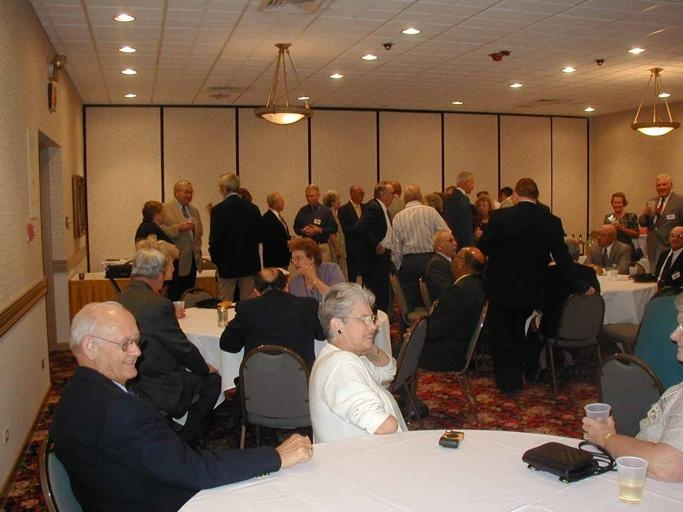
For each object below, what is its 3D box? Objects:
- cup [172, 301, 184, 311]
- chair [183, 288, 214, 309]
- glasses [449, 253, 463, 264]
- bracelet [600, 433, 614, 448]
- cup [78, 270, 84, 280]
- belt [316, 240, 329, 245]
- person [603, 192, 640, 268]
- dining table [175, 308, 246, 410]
[{"bbox_3d":[-1.429,0.438,4.708,0.096,0.071,0.090,-1,8,0],"label":"cup"},{"bbox_3d":[-1.368,0.425,5.238,0.214,0.290,0.239,-4,1,-38],"label":"chair"},{"bbox_3d":[1.049,0.018,4.801,0.075,0.077,0.036,6,-2,-30],"label":"glasses"},{"bbox_3d":[1.062,0.731,2.133,0.048,0.046,0.049,-2,4,-13],"label":"bracelet"},{"bbox_3d":[-3.568,0.266,7.283,0.089,0.098,0.088,0,-7,0],"label":"cup"},{"bbox_3d":[-0.301,-0.208,8.213,0.155,0.037,0.146,-2,1,-41],"label":"belt"},{"bbox_3d":[4.543,-0.217,8.788,0.550,1.608,0.571,-18,19,-40],"label":"person"},{"bbox_3d":[-1.036,0.770,4.433,0.722,0.523,0.725,5,9,26],"label":"dining table"}]
